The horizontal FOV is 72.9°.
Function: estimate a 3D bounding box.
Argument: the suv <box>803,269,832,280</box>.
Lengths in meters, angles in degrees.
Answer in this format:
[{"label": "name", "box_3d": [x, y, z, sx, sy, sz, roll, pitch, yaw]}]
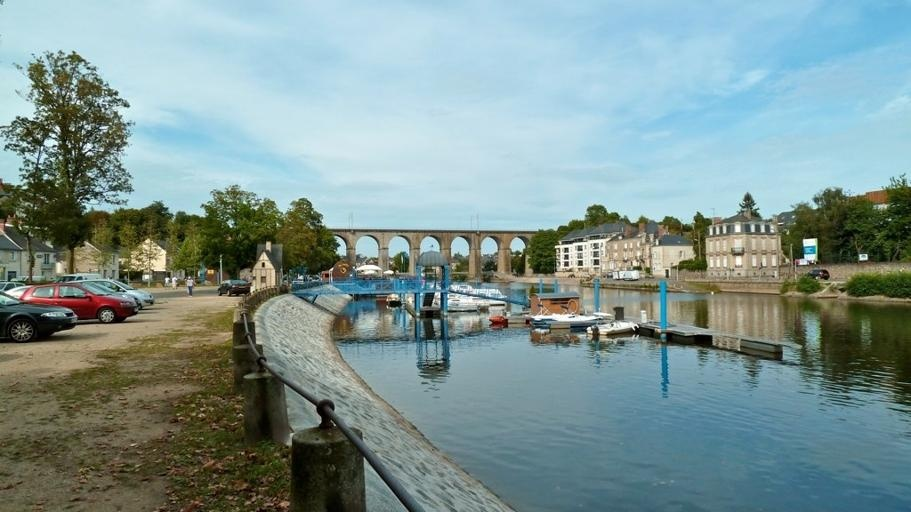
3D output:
[{"label": "suv", "box_3d": [55.982, 2.943, 94.981, 1.570, 1.077, 2.403, 0, 6, -16]}]

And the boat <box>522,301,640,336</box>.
[{"label": "boat", "box_3d": [12.061, 6.279, 59.540, 5.704, 1.577, 10.464, -1, -3, -32]}]
